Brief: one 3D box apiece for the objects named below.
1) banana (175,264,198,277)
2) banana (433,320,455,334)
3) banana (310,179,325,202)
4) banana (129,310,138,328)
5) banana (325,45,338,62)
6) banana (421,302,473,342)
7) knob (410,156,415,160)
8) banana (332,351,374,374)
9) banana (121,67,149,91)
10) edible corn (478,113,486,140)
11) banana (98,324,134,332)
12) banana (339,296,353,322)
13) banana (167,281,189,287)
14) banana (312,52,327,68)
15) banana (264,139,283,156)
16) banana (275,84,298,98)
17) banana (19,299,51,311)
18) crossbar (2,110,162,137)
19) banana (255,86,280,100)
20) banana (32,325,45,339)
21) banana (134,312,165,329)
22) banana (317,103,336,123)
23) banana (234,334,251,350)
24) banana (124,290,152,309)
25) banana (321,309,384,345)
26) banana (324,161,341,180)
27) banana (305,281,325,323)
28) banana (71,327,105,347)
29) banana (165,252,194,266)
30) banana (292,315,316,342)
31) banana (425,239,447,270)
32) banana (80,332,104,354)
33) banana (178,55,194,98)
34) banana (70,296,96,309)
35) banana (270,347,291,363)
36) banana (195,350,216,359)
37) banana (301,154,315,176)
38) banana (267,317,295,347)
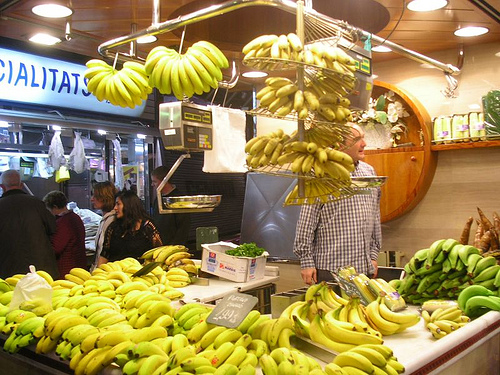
[{"bbox_3d":[-0.610,0.813,3.439,0.207,0.112,0.105,-1,2,-13],"label":"banana"},{"bbox_3d":[1.061,0.761,1.920,0.052,0.041,0.121,-2,1,-24],"label":"banana"},{"bbox_3d":[0.370,0.008,1.949,0.029,0.115,0.042,-28,1,16],"label":"banana"},{"bbox_3d":[-0.673,0.763,2.045,0.036,0.029,0.108,1,24,6],"label":"banana"},{"bbox_3d":[0.430,-0.706,1.841,0.059,0.101,0.139,-1,1,13],"label":"banana"},{"bbox_3d":[1.102,0.739,2.003,0.165,0.096,0.260,7,4,-8],"label":"banana"},{"bbox_3d":[2.175,-0.401,4.702,0.050,0.027,0.050,-9,1,8],"label":"knob"},{"bbox_3d":[0.426,0.713,1.463,0.177,0.103,0.054,-13,-4,37],"label":"banana"},{"bbox_3d":[-0.951,-0.903,2.893,0.266,0.095,0.071,36,-47,-19],"label":"banana"},{"bbox_3d":[2.844,-0.764,4.327,0.083,0.334,0.091,0,2,40],"label":"edible corn"},{"bbox_3d":[-0.725,0.763,1.901,0.172,0.054,0.046,6,-13,-5],"label":"banana"},{"bbox_3d":[0.526,0.656,1.921,0.053,0.039,0.152,14,41,21],"label":"banana"},{"bbox_3d":[-0.646,0.874,3.192,0.193,0.062,0.053,-1,-8,-4],"label":"banana"},{"bbox_3d":[0.353,-0.652,1.778,0.063,0.103,0.104,-1,2,10],"label":"banana"},{"bbox_3d":[0.125,-0.223,1.857,0.042,0.035,0.127,29,50,17],"label":"banana"},{"bbox_3d":[0.187,-0.501,1.799,0.155,0.050,0.042,-26,-15,-31],"label":"banana"},{"bbox_3d":[-1.408,0.758,2.294,0.109,0.037,0.092,4,-2,-9],"label":"banana"},{"bbox_3d":[-2.338,-0.932,5.098,0.134,0.194,2.116,0,2,42],"label":"crossbar"},{"bbox_3d":[0.080,-0.530,1.925,0.161,0.042,0.052,-19,0,11],"label":"banana"},{"bbox_3d":[-1.179,0.814,1.980,0.084,0.073,0.041,-1,2,1],"label":"banana"},{"bbox_3d":[-0.571,0.754,2.007,0.169,0.087,0.086,-2,2,-18],"label":"banana"},{"bbox_3d":[0.394,-0.393,1.819,0.092,0.107,0.073,-1,2,24],"label":"banana"},{"bbox_3d":[-0.027,0.720,1.650,0.068,0.033,0.107,-41,-15,16],"label":"banana"},{"bbox_3d":[-0.720,0.732,2.287,0.162,0.097,0.157,0,2,32],"label":"banana"},{"bbox_3d":[0.484,0.671,1.707,0.319,0.146,0.066,-4,-11,36],"label":"banana"},{"bbox_3d":[0.418,-0.089,1.774,0.047,0.038,0.128,-8,21,-16],"label":"banana"},{"bbox_3d":[0.397,0.665,2.099,0.097,0.263,0.075,17,-26,-13],"label":"banana"},{"bbox_3d":[-0.839,0.743,1.779,0.159,0.074,0.046,-18,-37,-16],"label":"banana"},{"bbox_3d":[-0.681,0.691,3.547,0.321,0.083,0.109,-10,36,-15],"label":"banana"},{"bbox_3d":[0.274,0.710,1.812,0.062,0.171,0.050,-27,-16,-20],"label":"banana"},{"bbox_3d":[1.256,0.429,2.441,0.078,0.264,0.089,17,-19,50],"label":"banana"},{"bbox_3d":[-0.774,0.752,1.693,0.134,0.036,0.044,-18,38,-25],"label":"banana"},{"bbox_3d":[-0.465,-0.811,2.572,0.076,0.283,0.095,-6,11,34],"label":"banana"},{"bbox_3d":[-1.096,0.749,2.306,0.138,0.040,0.069,-23,-2,22],"label":"banana"},{"bbox_3d":[0.129,0.718,1.504,0.068,0.048,0.038,5,6,-26],"label":"banana"},{"bbox_3d":[-0.195,0.746,1.566,0.054,0.021,0.070,-3,-14,-7],"label":"banana"},{"bbox_3d":[0.296,-0.123,1.778,0.050,0.100,0.106,-1,2,22],"label":"banana"},{"bbox_3d":[0.165,0.704,1.755,0.048,0.069,0.236,-5,10,26],"label":"banana"}]
